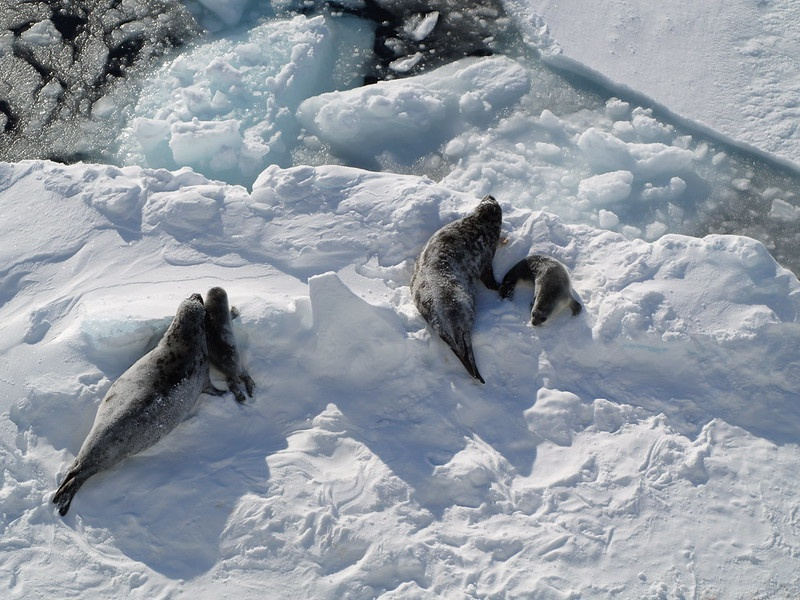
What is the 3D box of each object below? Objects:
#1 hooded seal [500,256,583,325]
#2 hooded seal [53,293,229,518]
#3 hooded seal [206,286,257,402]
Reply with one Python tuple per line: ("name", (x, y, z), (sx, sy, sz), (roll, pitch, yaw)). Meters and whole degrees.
("hooded seal", (1.722, -0.200, 17.032), (0.699, 0.257, 0.935), (-17, 38, 12))
("hooded seal", (-2.852, 1.203, 16.369), (1.262, 0.782, 2.990), (23, 59, 20))
("hooded seal", (-1.953, 0.484, 16.653), (0.506, 1.263, 0.495), (-15, 6, 3))
